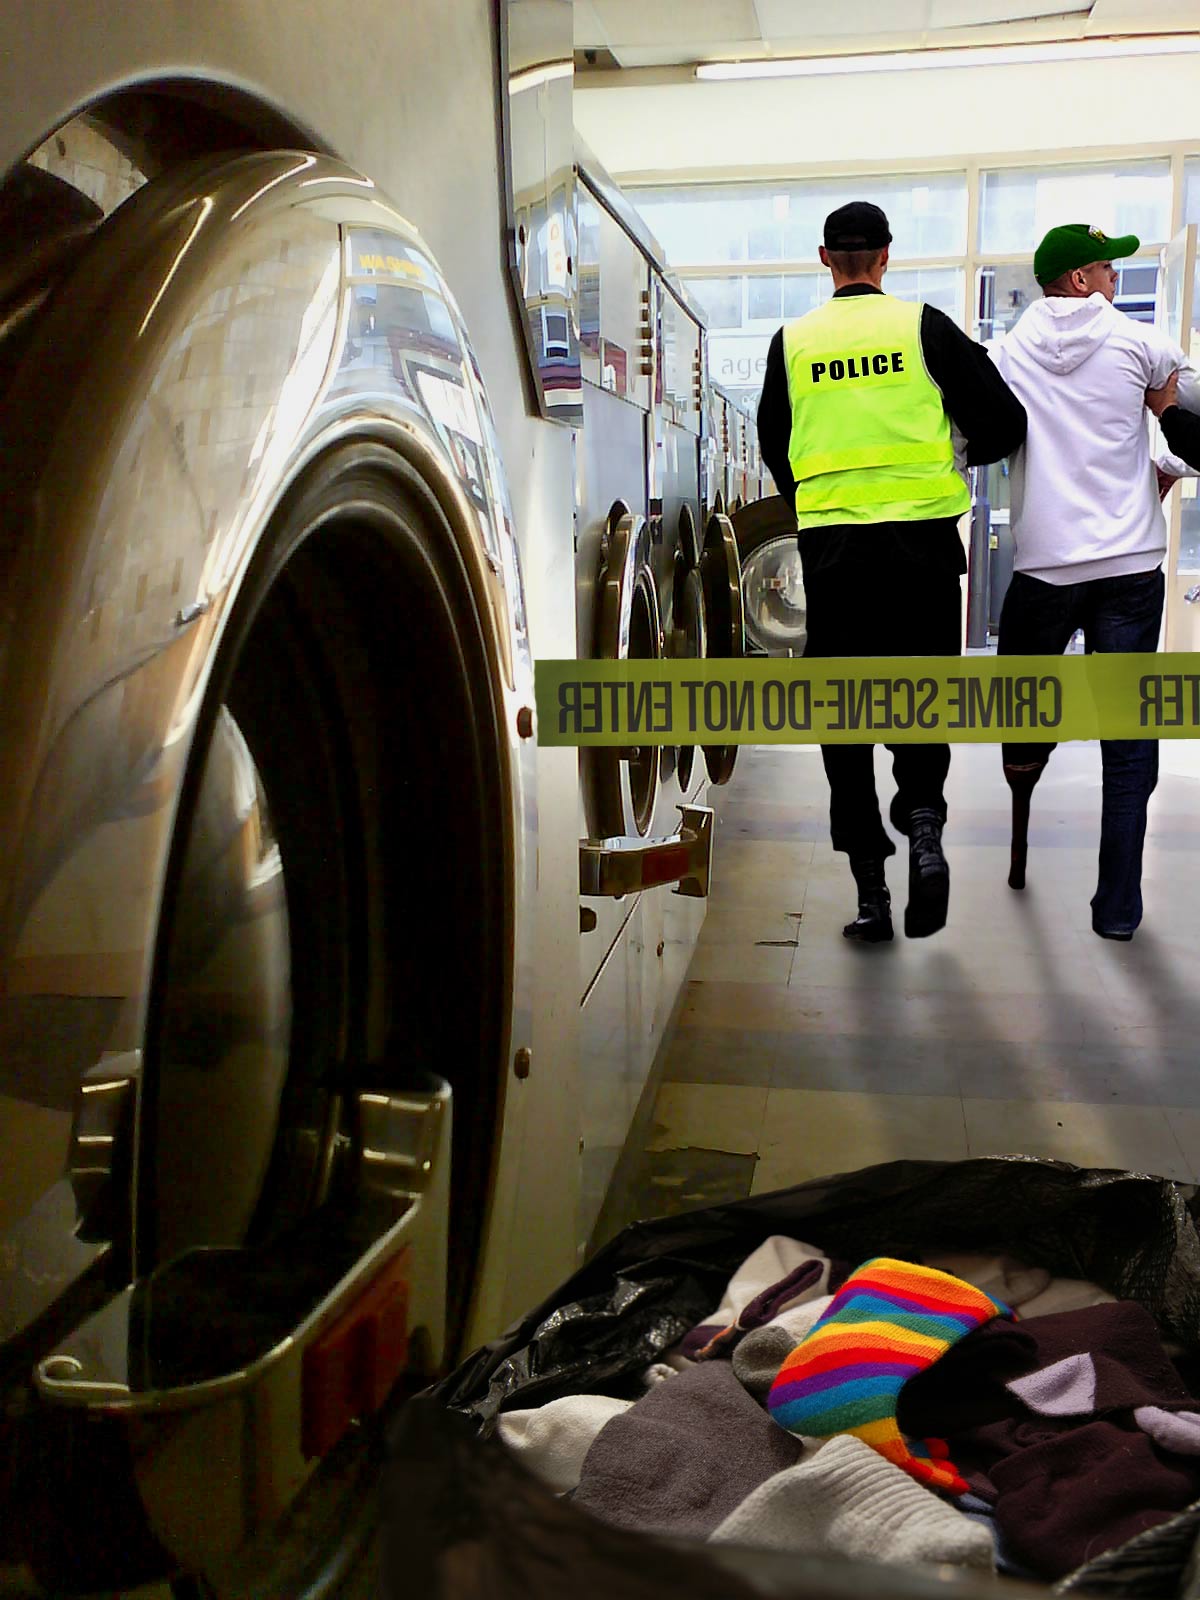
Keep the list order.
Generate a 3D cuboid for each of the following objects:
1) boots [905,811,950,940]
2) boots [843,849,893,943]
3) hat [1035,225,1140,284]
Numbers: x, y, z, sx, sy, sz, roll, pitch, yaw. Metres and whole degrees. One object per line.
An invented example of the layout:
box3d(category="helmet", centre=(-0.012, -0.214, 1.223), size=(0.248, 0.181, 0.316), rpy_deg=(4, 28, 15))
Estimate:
box3d(category="boots", centre=(0.316, 0.072, 1.057), size=(0.034, 0.132, 0.084), rpy_deg=(0, 16, 5))
box3d(category="boots", centre=(0.273, 0.099, 1.097), size=(0.041, 0.102, 0.081), rpy_deg=(-2, 8, 4))
box3d(category="hat", centre=(0.395, -0.449, 0.874), size=(0.059, 0.035, 0.041), rpy_deg=(-36, 25, 14))
